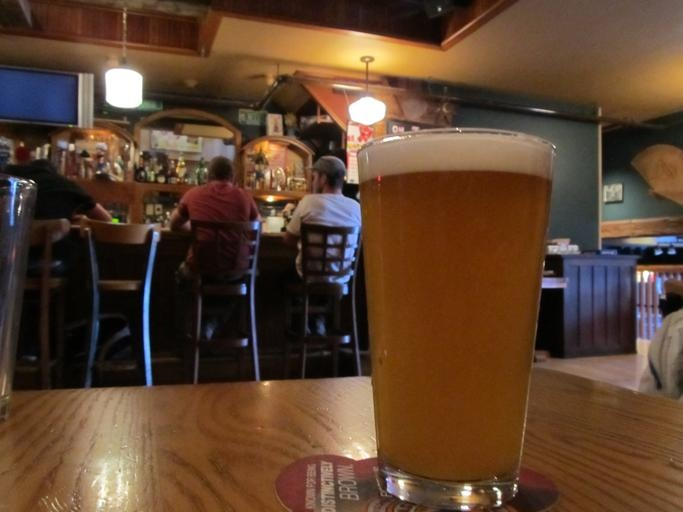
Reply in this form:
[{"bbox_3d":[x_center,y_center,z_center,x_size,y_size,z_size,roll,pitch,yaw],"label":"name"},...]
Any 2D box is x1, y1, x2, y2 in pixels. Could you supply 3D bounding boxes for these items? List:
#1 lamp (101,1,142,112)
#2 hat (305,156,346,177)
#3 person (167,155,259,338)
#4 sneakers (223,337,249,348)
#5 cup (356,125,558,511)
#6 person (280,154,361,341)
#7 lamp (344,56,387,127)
[{"bbox_3d":[-1.932,-1.736,5.122,0.277,0.980,1.205,0,1,-22],"label":"lamp"},{"bbox_3d":[-0.098,-0.605,3.922,0.146,0.104,0.197,-7,32,-35],"label":"hat"},{"bbox_3d":[-0.750,-0.062,3.381,0.528,1.156,0.934,1,1,-9],"label":"person"},{"bbox_3d":[-0.567,0.474,3.160,0.123,0.072,0.200,1,1,-5],"label":"sneakers"},{"bbox_3d":[0.100,0.047,0.529,0.185,0.215,0.109,1,1,14],"label":"cup"},{"bbox_3d":[-0.117,-0.104,3.691,0.475,1.172,0.842,1,1,-2],"label":"person"},{"bbox_3d":[0.302,-1.766,6.331,0.376,0.714,0.781,1,1,10],"label":"lamp"}]
